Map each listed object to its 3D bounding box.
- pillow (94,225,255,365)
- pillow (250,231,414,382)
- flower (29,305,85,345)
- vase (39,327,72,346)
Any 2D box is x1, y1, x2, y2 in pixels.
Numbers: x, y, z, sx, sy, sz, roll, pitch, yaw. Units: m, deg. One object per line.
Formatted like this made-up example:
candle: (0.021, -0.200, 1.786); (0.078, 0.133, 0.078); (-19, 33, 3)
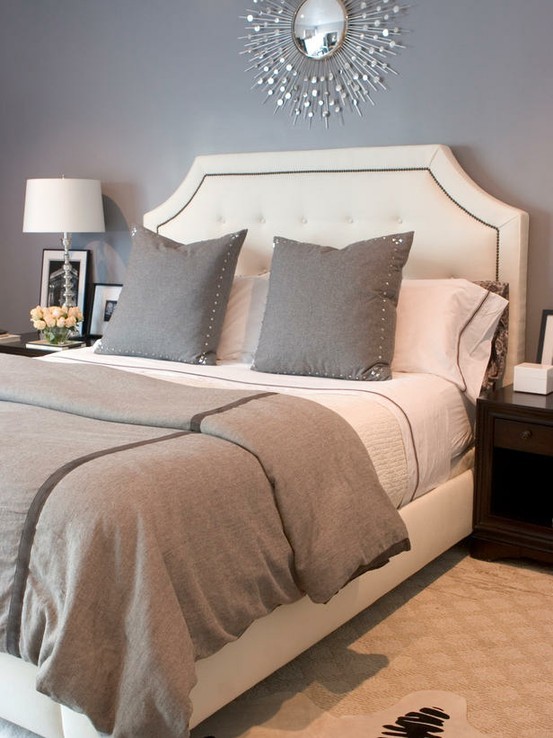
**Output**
pillow: (-0.448, -0.307, 2.496); (0.592, 0.516, 0.337); (9, 20, 25)
pillow: (0.192, -0.188, 2.042); (0.568, 0.535, 0.174); (3, -13, 32)
flower: (-1.173, -0.243, 3.200); (0.267, 0.180, 0.258); (2, 7, 5)
vase: (-1.188, -0.175, 3.199); (0.146, 0.103, 0.137); (2, -11, 7)
